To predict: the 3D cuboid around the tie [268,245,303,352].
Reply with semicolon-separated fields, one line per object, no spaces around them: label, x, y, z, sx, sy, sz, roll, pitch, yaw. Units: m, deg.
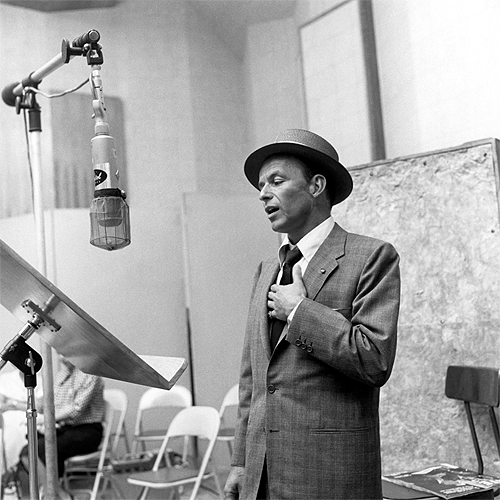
tie;0.141;0.181;5.240;0.102;0.359;0.260;8;-9;-17
